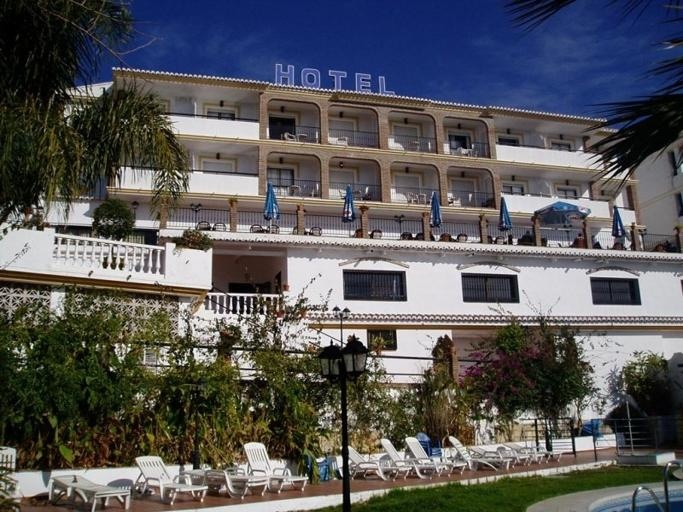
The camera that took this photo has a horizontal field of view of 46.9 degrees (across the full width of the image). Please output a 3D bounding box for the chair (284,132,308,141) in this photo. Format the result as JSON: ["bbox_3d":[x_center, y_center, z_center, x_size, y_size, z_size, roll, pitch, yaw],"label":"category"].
[{"bbox_3d":[-2.338,-5.966,39.607,0.680,0.294,0.590,-1,-1,26],"label":"chair"}]

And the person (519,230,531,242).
[{"bbox_3d":[8.847,-0.947,37.941,0.454,0.926,0.474,-1,-21,9],"label":"person"}]

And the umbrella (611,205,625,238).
[{"bbox_3d":[14.126,-1.737,40.187,0.654,1.768,2.558,-5,-13,20],"label":"umbrella"}]

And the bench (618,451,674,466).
[{"bbox_3d":[9.143,6.175,23.767,1.624,0.358,1.431,-6,-14,22],"label":"bench"}]

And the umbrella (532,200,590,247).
[{"bbox_3d":[11.403,-1.716,40.972,3.442,1.446,2.250,0,-7,10],"label":"umbrella"}]
